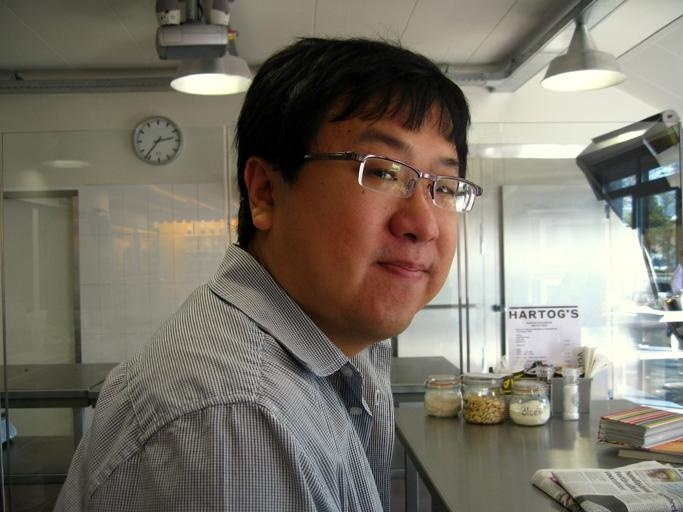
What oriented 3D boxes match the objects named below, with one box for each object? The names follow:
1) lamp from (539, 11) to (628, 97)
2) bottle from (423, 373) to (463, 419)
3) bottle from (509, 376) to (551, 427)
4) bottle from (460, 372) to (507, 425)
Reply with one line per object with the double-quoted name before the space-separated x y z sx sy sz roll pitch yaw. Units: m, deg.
"lamp" 1.402 -1.115 3.488 0.397 0.473 0.454 2 -9 15
"bottle" 0.391 0.549 2.328 0.138 0.137 0.141 0 -8 -1
"bottle" 0.698 0.545 2.272 0.149 0.149 0.153 -1 0 33
"bottle" 0.528 0.528 2.234 0.161 0.183 0.165 0 -6 -2
